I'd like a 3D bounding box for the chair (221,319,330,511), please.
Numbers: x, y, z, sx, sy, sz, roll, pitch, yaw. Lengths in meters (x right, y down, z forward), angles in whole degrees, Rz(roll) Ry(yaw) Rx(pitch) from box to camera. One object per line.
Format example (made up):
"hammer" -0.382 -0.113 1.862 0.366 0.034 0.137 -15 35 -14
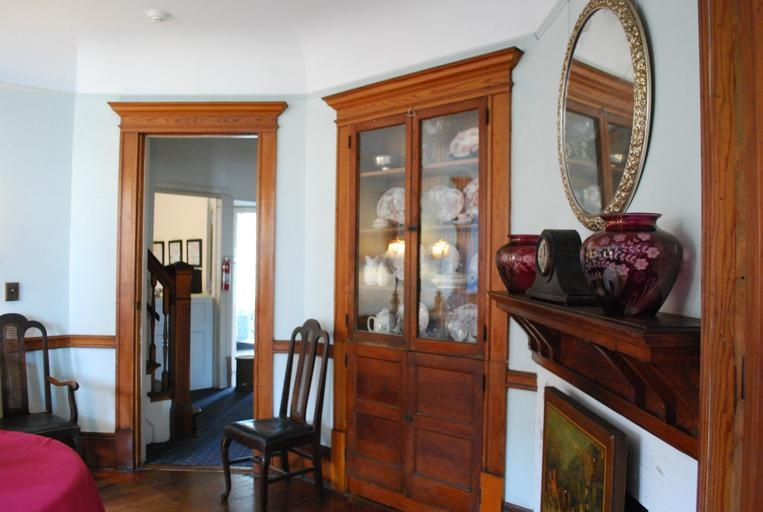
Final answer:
"chair" -0.732 1.086 4.011 0.806 1.151 0.642 -3 1 -39

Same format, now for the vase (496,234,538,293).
"vase" 0.685 0.040 2.833 0.263 0.297 0.264 2 -3 -18

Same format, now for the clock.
"clock" 0.797 0.037 2.536 0.159 0.318 0.409 0 -8 -7

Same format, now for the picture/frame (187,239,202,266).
"picture/frame" -2.344 -0.050 7.075 0.025 0.373 0.333 -2 3 -45

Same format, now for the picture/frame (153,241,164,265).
"picture/frame" -2.808 -0.051 7.111 0.038 0.350 0.291 5 -8 -45

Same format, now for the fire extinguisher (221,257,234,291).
"fire extinguisher" -1.854 0.212 6.763 0.142 0.379 0.069 -3 1 -18

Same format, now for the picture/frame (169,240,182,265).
"picture/frame" -2.664 -0.060 7.295 0.310 0.323 0.023 2 3 44

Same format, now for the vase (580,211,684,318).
"vase" 0.993 0.028 2.240 0.388 0.413 0.373 -4 3 -32

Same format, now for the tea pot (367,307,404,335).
"tea pot" 0.030 0.444 3.849 0.224 0.163 0.146 3 -2 16
